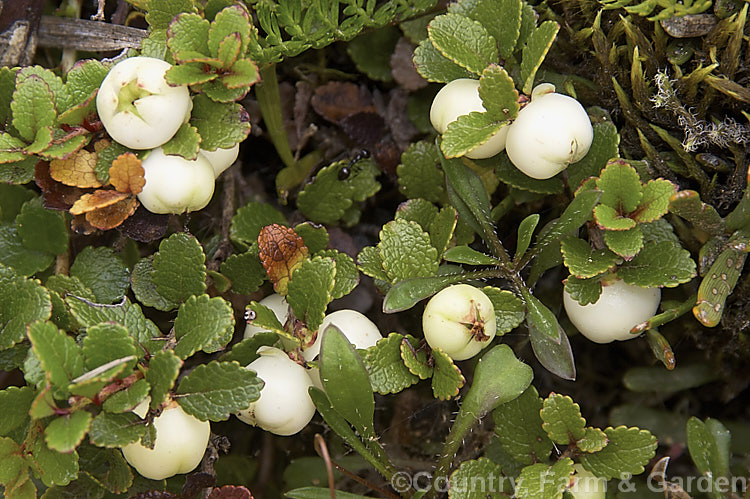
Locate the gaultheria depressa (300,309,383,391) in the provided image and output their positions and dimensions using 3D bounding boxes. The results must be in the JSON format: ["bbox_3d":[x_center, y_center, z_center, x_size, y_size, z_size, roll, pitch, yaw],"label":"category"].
[{"bbox_3d":[-0.054,0.138,1.063,0.122,0.107,0.087,-20,64,-13],"label":"gaultheria depressa"}]

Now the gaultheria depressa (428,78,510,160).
[{"bbox_3d":[0.154,-0.208,1.117,0.107,0.121,0.119,-4,51,28],"label":"gaultheria depressa"}]

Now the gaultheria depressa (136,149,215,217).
[{"bbox_3d":[-0.296,-0.098,1.033,0.091,0.073,0.101,-6,94,-5],"label":"gaultheria depressa"}]

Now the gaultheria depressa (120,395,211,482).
[{"bbox_3d":[-0.306,0.263,1.043,0.112,0.118,0.127,2,85,-44],"label":"gaultheria depressa"}]

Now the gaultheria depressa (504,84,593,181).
[{"bbox_3d":[0.255,-0.168,1.024,0.105,0.070,0.116,41,68,17],"label":"gaultheria depressa"}]

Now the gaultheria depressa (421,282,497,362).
[{"bbox_3d":[0.121,0.106,1.044,0.099,0.100,0.107,22,98,2],"label":"gaultheria depressa"}]
